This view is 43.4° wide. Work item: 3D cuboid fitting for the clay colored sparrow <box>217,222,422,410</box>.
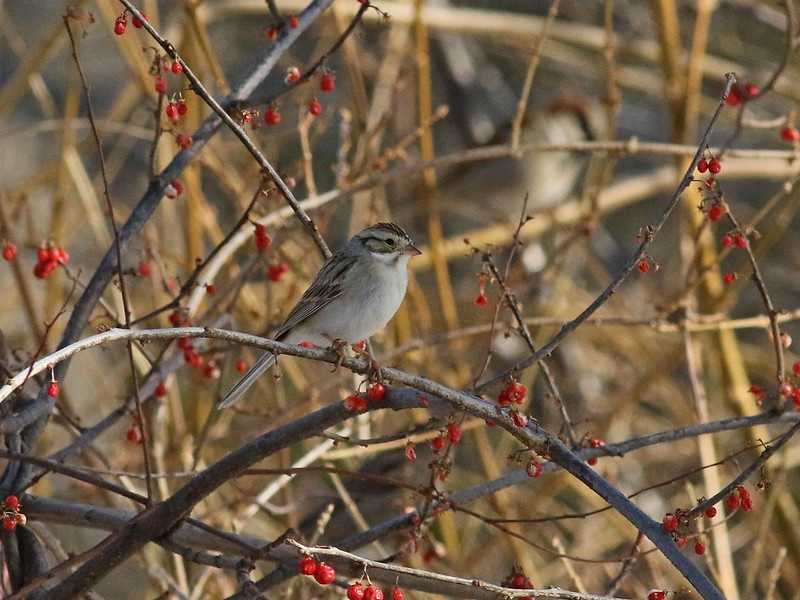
[{"bbox_3d":[-0.628,0.058,7.194,1.598,0.948,0.565,-11,-18,27],"label":"clay colored sparrow"}]
